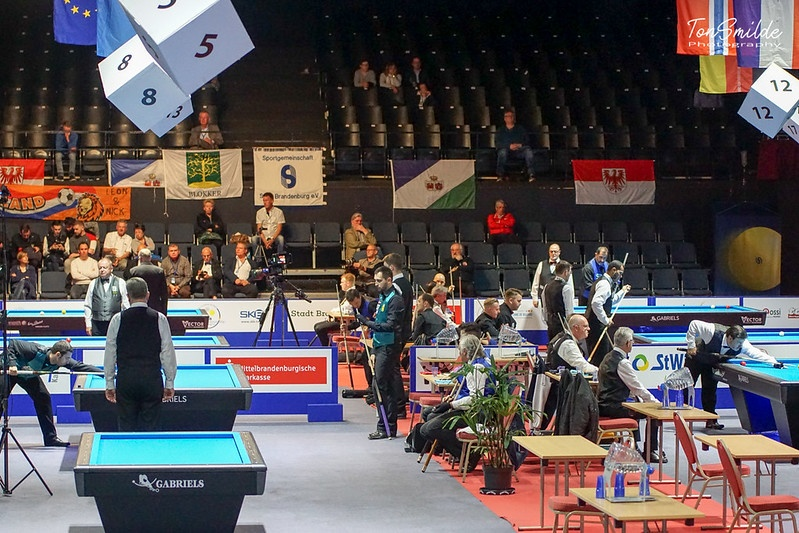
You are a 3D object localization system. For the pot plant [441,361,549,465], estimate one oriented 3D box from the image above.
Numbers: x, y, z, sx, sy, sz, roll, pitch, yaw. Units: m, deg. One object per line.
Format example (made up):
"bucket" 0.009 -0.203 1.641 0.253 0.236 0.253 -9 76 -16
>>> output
"pot plant" 1.420 2.362 17.766 1.061 1.262 0.772 16 -24 -39

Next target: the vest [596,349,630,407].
"vest" 3.288 1.707 18.665 0.436 0.718 0.593 5 4 -9

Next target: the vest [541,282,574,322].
"vest" 2.976 0.696 22.720 0.690 0.808 0.412 -2 -6 33

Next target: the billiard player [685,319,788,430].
"billiard player" 5.418 1.940 20.333 1.598 2.052 1.120 16 22 35

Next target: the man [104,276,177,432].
"man" -3.761 1.574 17.470 0.983 2.895 0.826 0 12 -14

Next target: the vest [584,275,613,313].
"vest" 3.624 0.513 21.995 0.318 0.580 0.604 8 8 0

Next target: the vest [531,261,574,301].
"vest" 3.002 0.331 23.799 0.808 0.904 0.444 0 2 5

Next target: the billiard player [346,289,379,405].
"billiard player" -0.552 1.518 22.176 0.675 2.002 0.594 -5 0 12

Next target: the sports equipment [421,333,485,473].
"sports equipment" 0.948 2.099 18.293 1.025 1.964 0.750 -5 -5 -6

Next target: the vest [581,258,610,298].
"vest" 3.680 0.262 22.722 0.510 0.855 0.660 10 10 31

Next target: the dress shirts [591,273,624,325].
"dress shirts" 3.772 0.629 22.180 0.450 1.019 0.431 -7 41 -3

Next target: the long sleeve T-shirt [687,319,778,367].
"long sleeve T-shirt" 5.470 1.332 20.174 0.767 0.473 1.160 -9 32 -37
